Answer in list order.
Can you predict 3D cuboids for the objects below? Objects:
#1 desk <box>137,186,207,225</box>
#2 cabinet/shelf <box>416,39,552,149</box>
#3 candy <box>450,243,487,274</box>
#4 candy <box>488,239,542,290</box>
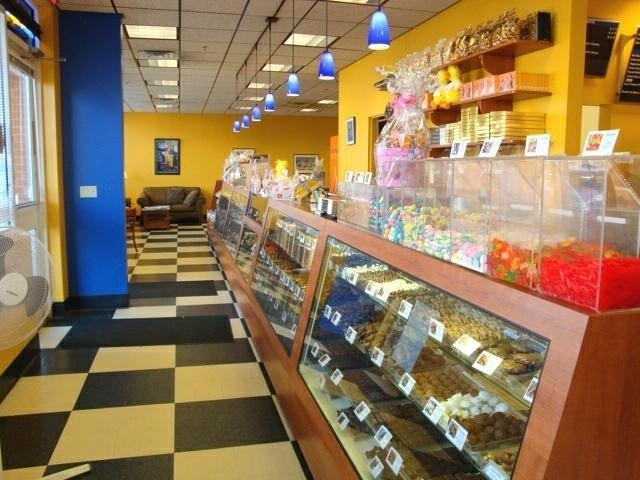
[{"bbox_3d":[-4.345,-1.051,13.275,1.705,0.983,2.021,-2,10,-19],"label":"desk"},{"bbox_3d":[1.729,-1.485,4.721,0.487,0.931,1.316,-2,10,-18],"label":"cabinet/shelf"},{"bbox_3d":[0.534,0.056,1.590,0.047,0.087,0.167,-2,10,-19],"label":"candy"},{"bbox_3d":[0.620,0.076,1.445,0.049,0.102,0.140,5,10,-37],"label":"candy"}]
